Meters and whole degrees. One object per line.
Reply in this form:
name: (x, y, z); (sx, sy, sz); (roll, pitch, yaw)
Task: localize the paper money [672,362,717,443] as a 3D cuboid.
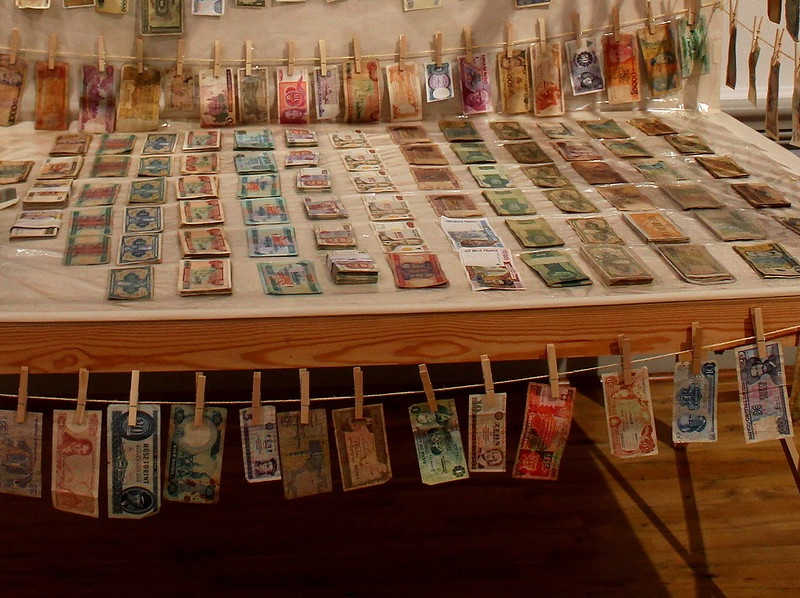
paper money: (1.171, 0.414, 2.249); (0.149, 0.344, 0.190); (1, 14, 25)
